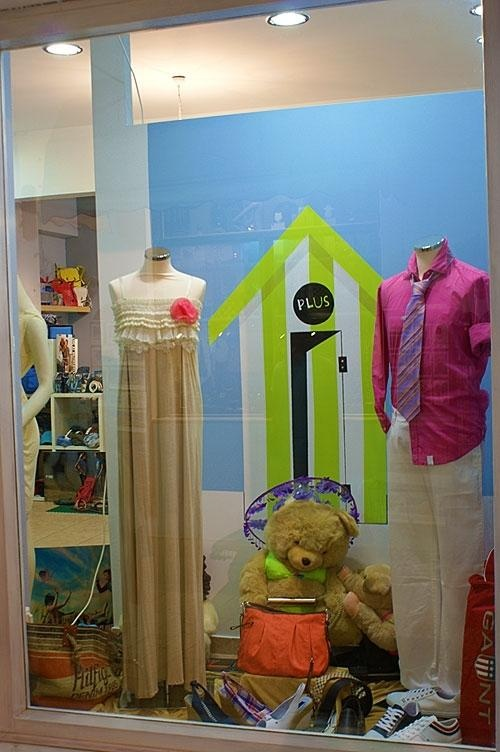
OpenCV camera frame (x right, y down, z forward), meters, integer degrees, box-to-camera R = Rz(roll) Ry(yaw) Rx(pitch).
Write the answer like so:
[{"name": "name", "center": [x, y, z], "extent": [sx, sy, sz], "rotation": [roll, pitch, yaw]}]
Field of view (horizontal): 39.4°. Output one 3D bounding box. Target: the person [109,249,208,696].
[{"name": "person", "center": [-0.209, 0.232, 1.655], "extent": [0.253, 1.058, 0.107], "rotation": [-4, -2, -1]}]

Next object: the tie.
[{"name": "tie", "center": [0.377, -0.094, 1.522], "extent": [0.147, 0.279, 0.030], "rotation": [-6, -3, 39]}]

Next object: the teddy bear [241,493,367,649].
[{"name": "teddy bear", "center": [0.120, 0.469, 1.722], "extent": [0.277, 0.344, 0.192], "rotation": [0, 12, 2]}]

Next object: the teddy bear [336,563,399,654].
[{"name": "teddy bear", "center": [0.272, 0.516, 1.621], "extent": [0.077, 0.178, 0.138], "rotation": [-17, 6, -43]}]

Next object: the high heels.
[{"name": "high heels", "center": [-0.007, 0.723, 1.641], "extent": [0.348, 0.127, 0.107], "rotation": [1, -1, 12]}]
